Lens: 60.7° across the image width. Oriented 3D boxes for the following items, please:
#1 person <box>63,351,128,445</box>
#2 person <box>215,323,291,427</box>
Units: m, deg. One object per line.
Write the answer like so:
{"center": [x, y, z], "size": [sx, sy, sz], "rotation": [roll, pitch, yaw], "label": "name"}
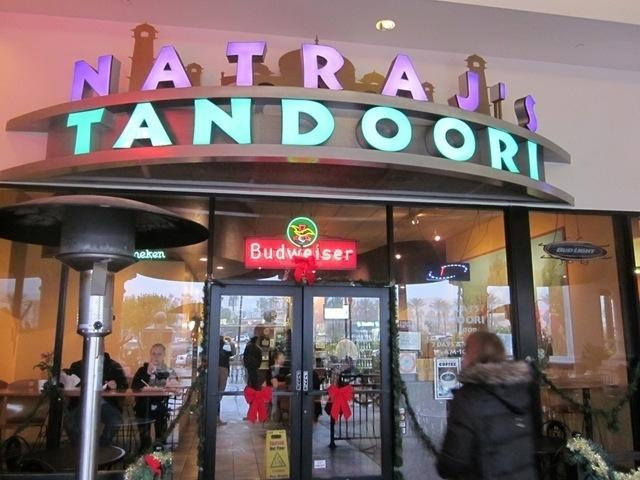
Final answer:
{"center": [-2.717, 1.899, 6.477], "size": [0.757, 1.407, 0.686], "rotation": [-2, -12, -17], "label": "person"}
{"center": [-0.716, 1.672, 6.812], "size": [0.523, 1.135, 0.126], "rotation": [2, -15, -8], "label": "person"}
